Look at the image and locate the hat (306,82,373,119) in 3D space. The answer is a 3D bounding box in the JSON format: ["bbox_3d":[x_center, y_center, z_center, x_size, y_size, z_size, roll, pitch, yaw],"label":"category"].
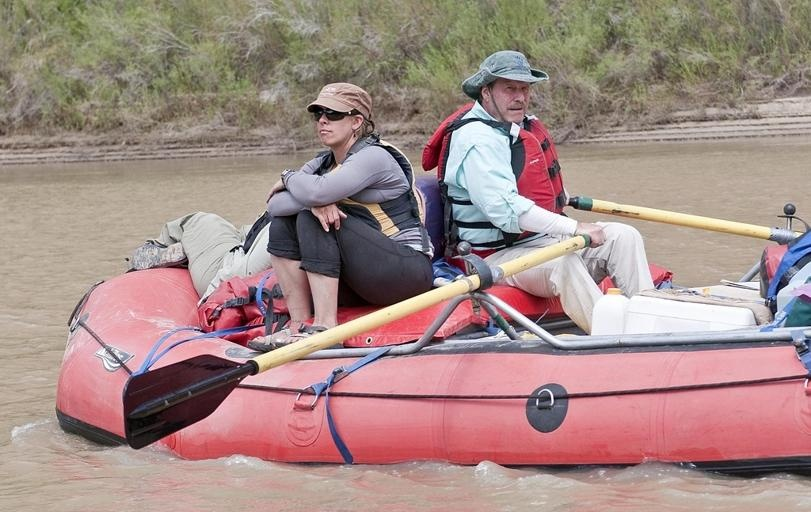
[{"bbox_3d":[-0.501,-1.175,8.293,0.577,0.174,0.381,-5,17,-43],"label":"hat"}]

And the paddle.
[{"bbox_3d":[-0.246,0.644,7.940,4.946,0.452,0.461,-13,-25,0],"label":"paddle"}]

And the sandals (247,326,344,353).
[{"bbox_3d":[-0.818,0.584,7.993,0.687,0.150,0.233,-1,0,-9],"label":"sandals"}]

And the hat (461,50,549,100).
[{"bbox_3d":[0.762,-1.415,8.513,0.532,0.193,0.595,-8,5,-39],"label":"hat"}]

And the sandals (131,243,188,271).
[{"bbox_3d":[-2.069,0.011,9.119,0.394,0.114,0.251,-2,-3,5],"label":"sandals"}]
